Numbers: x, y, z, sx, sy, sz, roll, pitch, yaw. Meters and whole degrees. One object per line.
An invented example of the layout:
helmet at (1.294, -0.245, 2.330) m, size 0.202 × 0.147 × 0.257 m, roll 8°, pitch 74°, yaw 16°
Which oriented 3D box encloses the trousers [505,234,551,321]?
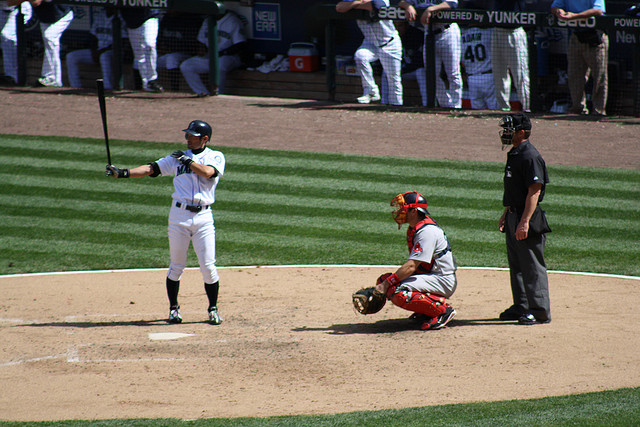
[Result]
trousers at (3.038, 0.917, 18.698) m, size 0.652 × 1.271 × 0.291 m, roll 1°, pitch 10°, yaw 11°

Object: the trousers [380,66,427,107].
trousers at (1.846, -2.812, 28.219) m, size 1.066 × 0.844 × 1.000 m, roll 1°, pitch 8°, yaw 7°

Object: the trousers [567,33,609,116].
trousers at (5.535, -2.871, 26.289) m, size 0.844 × 1.693 × 0.853 m, roll 4°, pitch 10°, yaw 26°

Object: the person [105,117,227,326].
person at (-2.031, 0.136, 18.824) m, size 1.227 × 2.991 × 0.570 m, roll -1°, pitch 9°, yaw -4°

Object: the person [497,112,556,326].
person at (2.989, 0.091, 18.596) m, size 0.883 × 3.058 × 0.513 m, roll 7°, pitch 12°, yaw 40°

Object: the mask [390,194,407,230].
mask at (1.157, -0.052, 18.796) m, size 0.219 × 0.479 × 0.349 m, roll 0°, pitch 9°, yaw 1°

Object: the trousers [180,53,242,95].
trousers at (-2.548, -3.253, 29.695) m, size 1.386 × 0.909 × 0.647 m, roll -3°, pitch 9°, yaw -15°

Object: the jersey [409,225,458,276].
jersey at (1.621, 0.533, 18.608) m, size 0.717 × 0.758 × 0.214 m, roll -5°, pitch 10°, yaw -28°

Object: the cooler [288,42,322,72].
cooler at (-0.395, -3.678, 29.771) m, size 0.658 × 0.505 × 0.481 m, roll 5°, pitch 16°, yaw 29°

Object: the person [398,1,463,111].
person at (2.441, -3.424, 27.523) m, size 1.250 × 2.343 × 1.331 m, roll 0°, pitch 9°, yaw 5°

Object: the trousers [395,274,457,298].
trousers at (1.605, 1.032, 18.675) m, size 0.685 × 0.223 × 0.388 m, roll 2°, pitch 7°, yaw -7°

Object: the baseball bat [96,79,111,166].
baseball bat at (-3.247, -1.336, 19.124) m, size 0.128 × 1.322 × 0.125 m, roll -8°, pitch 14°, yaw -9°

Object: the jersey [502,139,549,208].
jersey at (3.039, -0.567, 18.992) m, size 0.785 × 1.088 × 1.368 m, roll -1°, pitch 5°, yaw -6°

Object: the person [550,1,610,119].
person at (5.389, -3.158, 26.146) m, size 1.069 × 2.378 × 1.188 m, roll 1°, pitch 9°, yaw 10°

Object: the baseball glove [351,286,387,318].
baseball glove at (0.711, 1.251, 18.722) m, size 0.432 × 0.157 × 0.500 m, roll -17°, pitch 32°, yaw -29°

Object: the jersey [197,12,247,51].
jersey at (-2.345, -4.354, 30.605) m, size 1.499 × 0.963 × 0.616 m, roll 14°, pitch 16°, yaw 42°

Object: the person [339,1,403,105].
person at (1.288, -3.560, 28.253) m, size 1.318 × 2.220 × 1.499 m, roll 3°, pitch 10°, yaw 23°

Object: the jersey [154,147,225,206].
jersey at (-1.937, -0.555, 18.809) m, size 1.183 × 0.847 × 0.591 m, roll 2°, pitch 1°, yaw 23°
